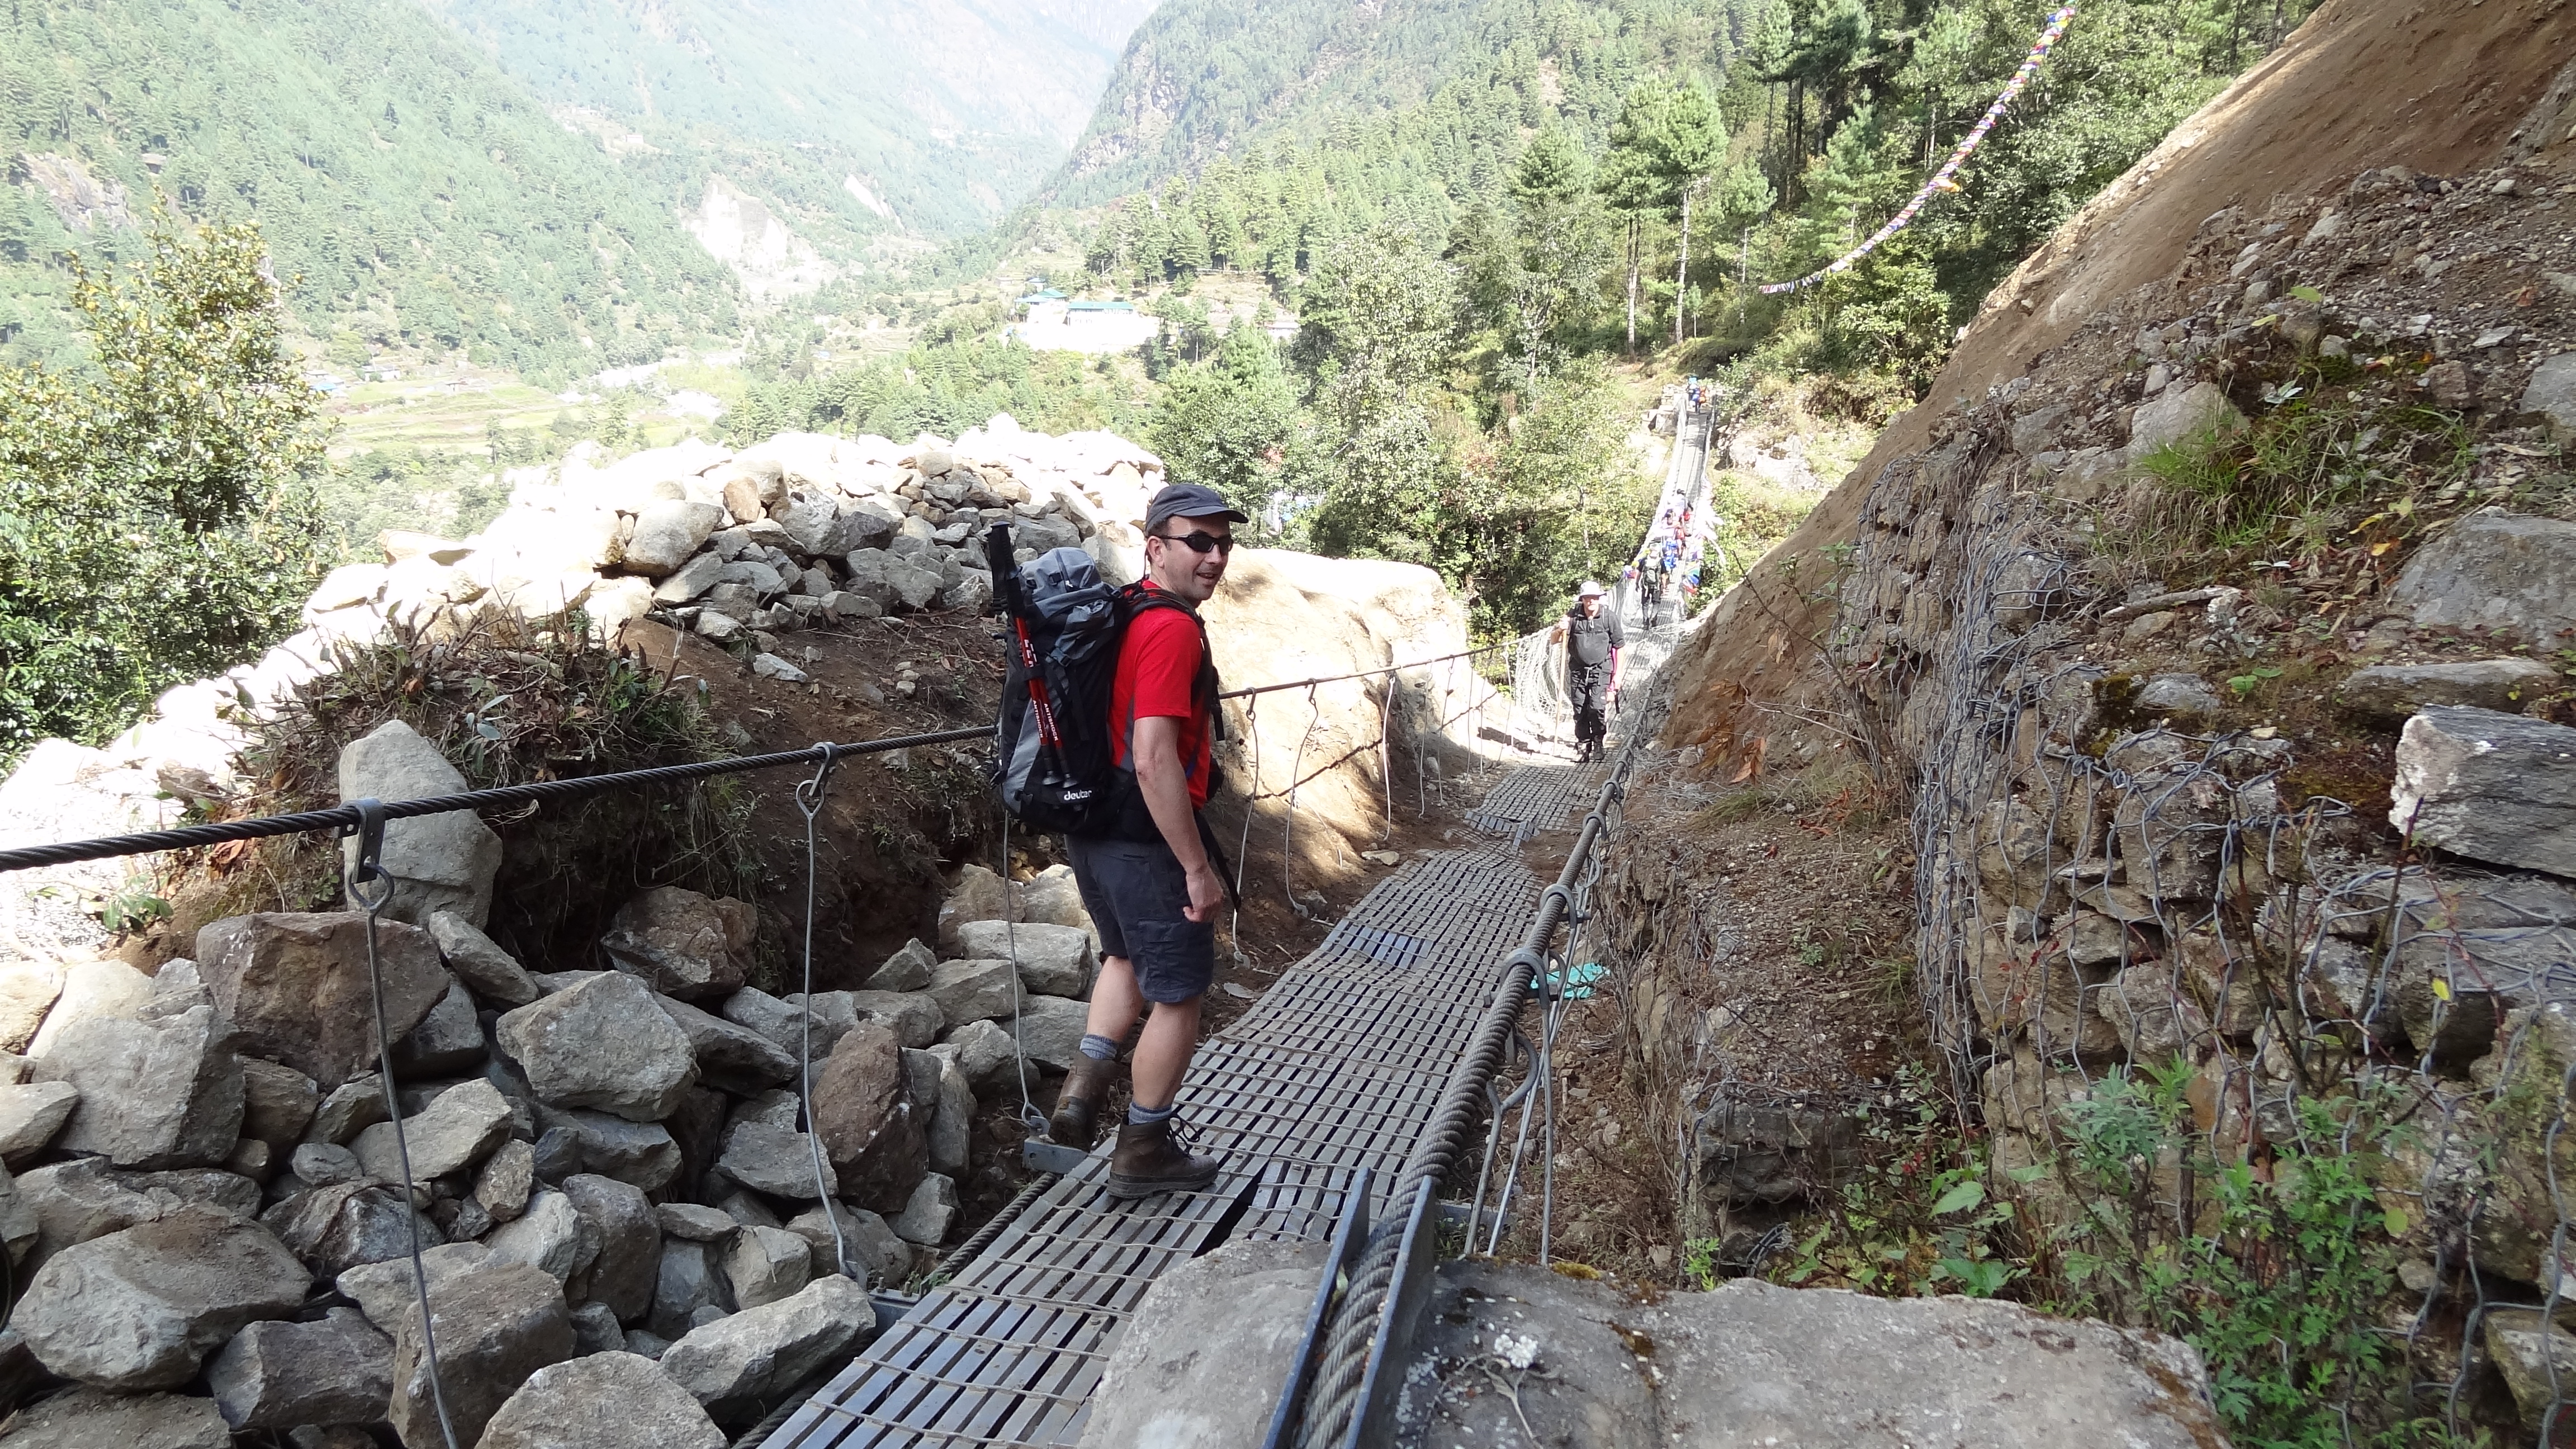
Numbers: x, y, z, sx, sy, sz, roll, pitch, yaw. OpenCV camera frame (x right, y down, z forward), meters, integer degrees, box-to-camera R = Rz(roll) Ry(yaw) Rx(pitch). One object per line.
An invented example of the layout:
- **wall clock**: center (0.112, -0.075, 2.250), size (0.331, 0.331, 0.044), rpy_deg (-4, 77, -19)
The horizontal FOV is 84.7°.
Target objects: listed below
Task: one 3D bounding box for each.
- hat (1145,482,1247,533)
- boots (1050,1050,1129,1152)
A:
- **hat**: center (-0.347, -0.808, 5.311), size (0.314, 0.153, 0.223), rpy_deg (-1, 0, 6)
- **boots**: center (-0.863, 1.572, 6.018), size (0.211, 0.368, 0.566), rpy_deg (17, -11, 3)
